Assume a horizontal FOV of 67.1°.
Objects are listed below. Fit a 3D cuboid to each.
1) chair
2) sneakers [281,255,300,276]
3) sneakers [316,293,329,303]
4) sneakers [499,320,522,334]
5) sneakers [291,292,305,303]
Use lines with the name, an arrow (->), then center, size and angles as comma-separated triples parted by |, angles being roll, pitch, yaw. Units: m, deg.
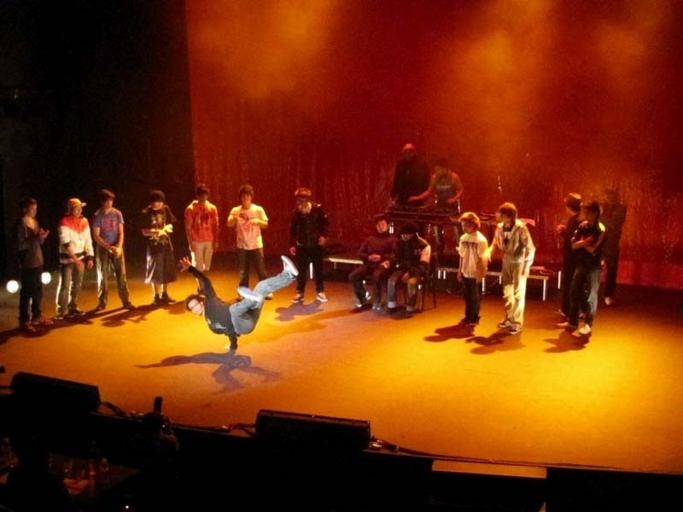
chair -> 1.031, 0.195, 8.234 | 0.622, 1.444, 0.808 | 2, 0, 28
sneakers -> -0.641, 0.108, 6.388 | 0.137, 0.239, 0.353 | -3, 13, -13
sneakers -> -0.330, 0.697, 8.762 | 0.111, 0.070, 0.184 | -3, 14, -14
sneakers -> 2.346, 0.967, 7.268 | 0.327, 0.154, 0.277 | 9, 16, 34
sneakers -> -0.719, 0.715, 8.709 | 0.235, 0.165, 0.087 | 7, -1, -24
